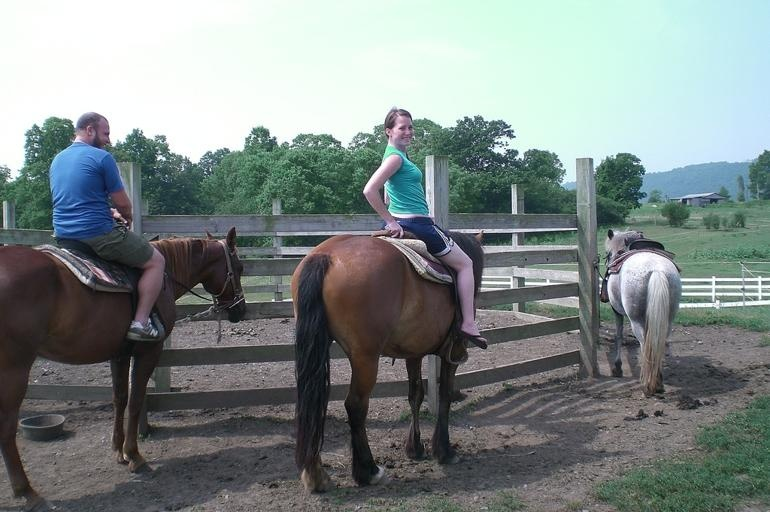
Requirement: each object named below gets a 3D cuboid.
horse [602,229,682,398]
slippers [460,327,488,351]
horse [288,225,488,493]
[{"bbox_3d":[3.923,0.859,10.419,0.829,2.125,2.039,0,11,6],"label":"horse"},{"bbox_3d":[0.959,0.967,7.971,0.180,0.162,0.483,11,-1,-27],"label":"slippers"},{"bbox_3d":[0.039,1.224,7.780,0.943,2.424,2.909,-4,-6,37],"label":"horse"}]
